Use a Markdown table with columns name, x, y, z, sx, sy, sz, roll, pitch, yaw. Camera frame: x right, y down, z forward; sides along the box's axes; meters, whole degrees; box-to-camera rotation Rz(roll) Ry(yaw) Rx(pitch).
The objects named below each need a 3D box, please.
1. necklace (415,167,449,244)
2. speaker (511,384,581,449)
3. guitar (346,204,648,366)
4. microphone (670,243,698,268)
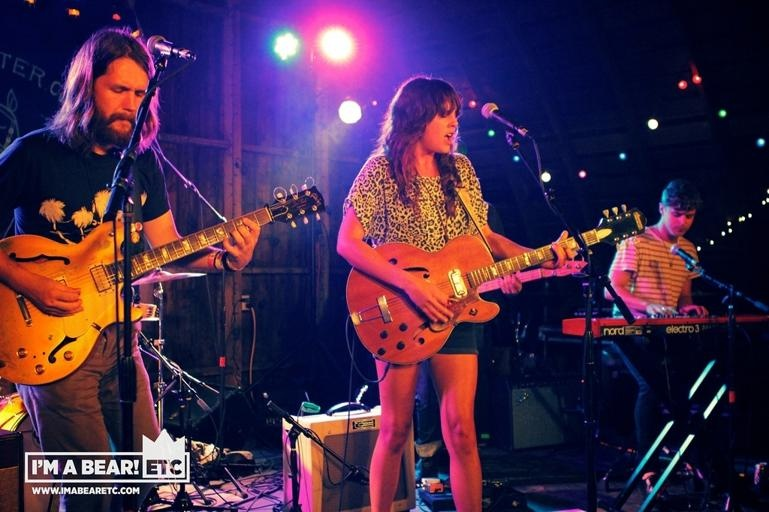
| name | x | y | z | sx | sy | sz | roll | pitch | yaw |
| --- | --- | --- | --- | --- | --- | --- | --- | --- | --- |
| necklace | 0.432 | -0.387 | 6.086 | 0.268 | 0.571 | 0.074 | -5 | -1 | -16 |
| speaker | 1.940 | 2.000 | 9.042 | 0.892 | 0.854 | 0.298 | 0 | -10 | -22 |
| guitar | 0.898 | 0.154 | 6.444 | 2.362 | 0.978 | 0.245 | -20 | -3 | -11 |
| microphone | 2.885 | 0.031 | 7.133 | 0.199 | 0.253 | 0.368 | -10 | -12 | 14 |
